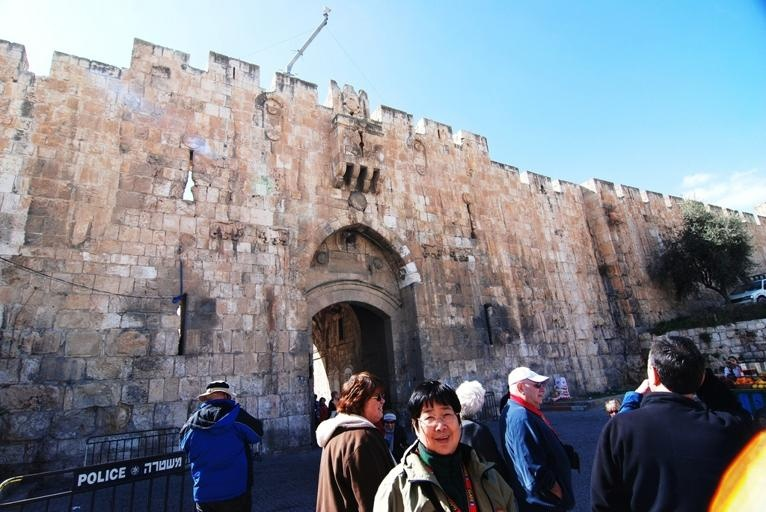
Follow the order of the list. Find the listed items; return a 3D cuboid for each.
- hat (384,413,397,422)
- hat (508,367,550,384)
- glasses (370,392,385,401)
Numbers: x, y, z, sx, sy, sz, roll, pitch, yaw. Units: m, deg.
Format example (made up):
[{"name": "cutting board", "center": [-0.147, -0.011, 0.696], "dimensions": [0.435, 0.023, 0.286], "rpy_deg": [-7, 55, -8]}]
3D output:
[{"name": "hat", "center": [0.087, 2.309, 5.763], "dimensions": [0.157, 0.068, 0.226], "rpy_deg": [-1, -18, 1]}, {"name": "hat", "center": [1.800, 1.501, 5.041], "dimensions": [0.413, 0.169, 0.268], "rpy_deg": [-5, -10, 1]}, {"name": "glasses", "center": [-0.068, 1.580, 4.511], "dimensions": [0.143, 0.053, 0.139], "rpy_deg": [-10, -17, 28]}]
